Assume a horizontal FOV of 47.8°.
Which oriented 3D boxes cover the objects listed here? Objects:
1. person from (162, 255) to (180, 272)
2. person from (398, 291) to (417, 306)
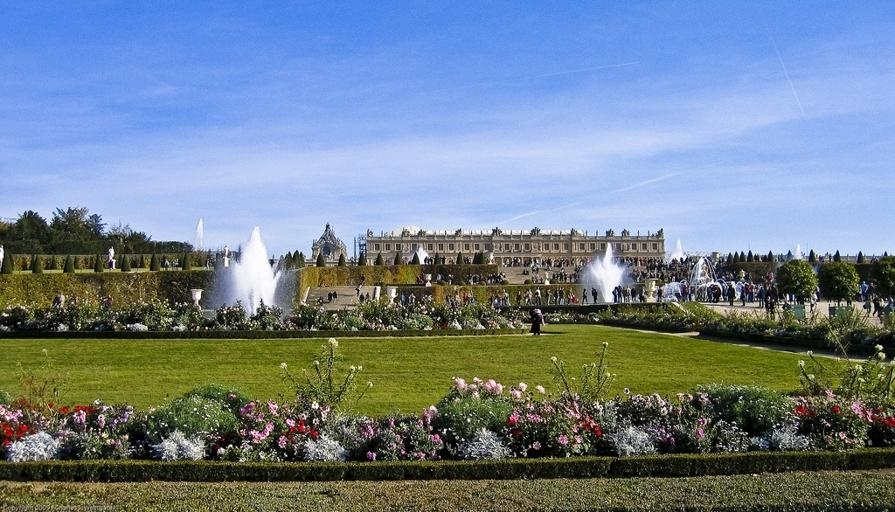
[{"bbox_3d":[-20.961,0.512,76.414,1.218,0.747,1.434,0,1,-6],"label":"person"},{"bbox_3d":[-2.397,2.316,58.308,1.243,0.710,1.476,1,3,-2],"label":"person"}]
